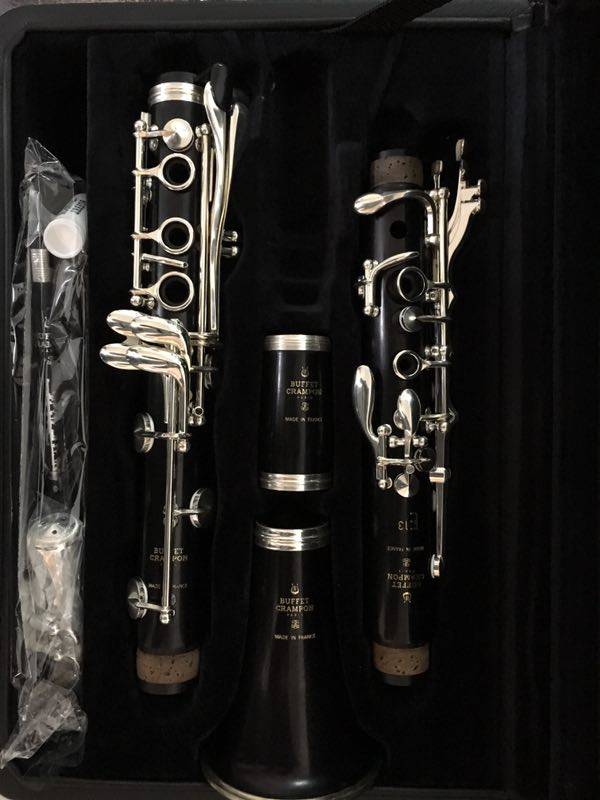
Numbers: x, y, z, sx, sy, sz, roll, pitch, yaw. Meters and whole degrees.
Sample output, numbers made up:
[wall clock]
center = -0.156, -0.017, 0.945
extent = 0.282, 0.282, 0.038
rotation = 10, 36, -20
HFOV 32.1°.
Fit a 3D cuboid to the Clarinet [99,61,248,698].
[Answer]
[Clarinet]
center = -0.189, -0.069, 1.571
extent = 0.179, 1.025, 0.220
rotation = 1, -1, -7
